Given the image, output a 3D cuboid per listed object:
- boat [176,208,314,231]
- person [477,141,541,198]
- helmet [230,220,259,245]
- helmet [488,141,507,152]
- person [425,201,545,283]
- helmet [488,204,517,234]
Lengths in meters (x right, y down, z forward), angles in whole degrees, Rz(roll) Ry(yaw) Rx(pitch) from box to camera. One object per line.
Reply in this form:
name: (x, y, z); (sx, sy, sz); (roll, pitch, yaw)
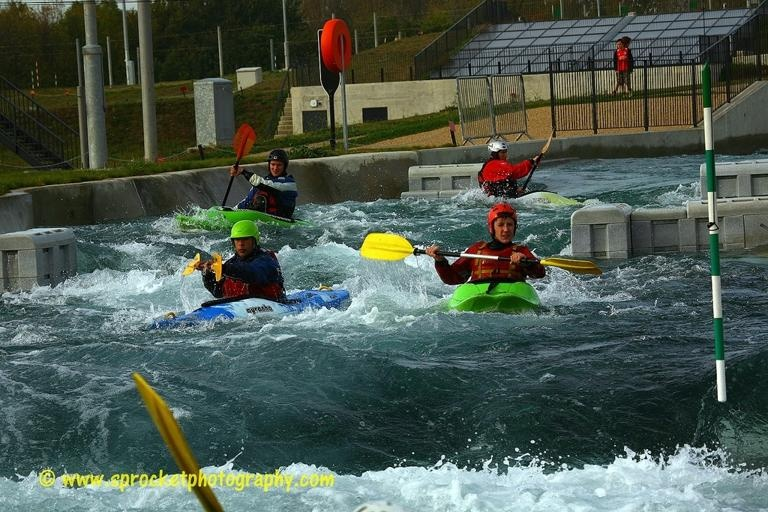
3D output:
boat: (-2.733, -0.696, 21.078); (1.746, 0.253, 0.839); (1, 3, -7)
person: (2.690, -1.843, 24.311); (1.070, 0.727, 1.508); (-17, -42, 1)
helmet: (-1.919, -0.333, 15.358); (0.343, 0.258, 0.387); (-2, -1, -3)
helmet: (2.344, -2.251, 23.064); (0.334, 0.235, 0.376); (-2, -1, 0)
person: (1.535, -0.113, 15.897); (1.152, 0.927, 1.465); (-4, -10, 15)
helmet: (1.611, -0.512, 15.547); (0.412, 0.470, 0.467); (4, 20, 3)
